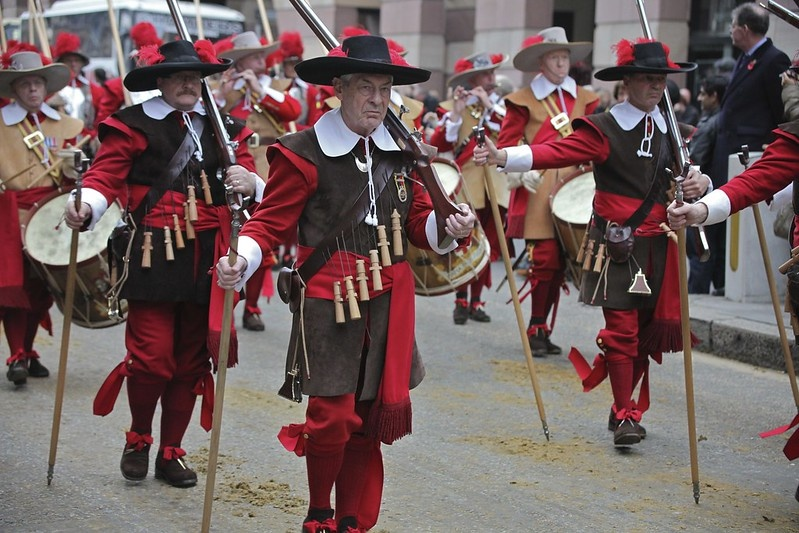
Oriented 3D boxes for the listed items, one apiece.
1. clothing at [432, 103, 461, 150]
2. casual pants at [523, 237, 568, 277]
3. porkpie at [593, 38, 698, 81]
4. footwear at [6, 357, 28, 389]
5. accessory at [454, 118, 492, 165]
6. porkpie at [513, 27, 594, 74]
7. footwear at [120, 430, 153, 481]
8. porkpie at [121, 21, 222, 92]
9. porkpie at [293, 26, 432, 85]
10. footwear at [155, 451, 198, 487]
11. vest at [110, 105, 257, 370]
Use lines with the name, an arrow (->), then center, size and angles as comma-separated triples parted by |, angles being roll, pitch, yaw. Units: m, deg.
clothing -> 0.469, -1.435, 13.357 | 0.353, 0.493, 0.455 | 3, 0, 10
casual pants -> 1.311, -0.065, 11.952 | 0.332, 0.445, 0.427 | 10, 14, 36
porkpie -> 1.825, -1.523, 9.732 | 0.547, 0.148, 0.391 | -6, 8, -4
footwear -> -3.045, 0.848, 10.647 | 0.156, 0.217, 0.254 | -1, 10, -15
accessory -> 0.692, -1.222, 12.977 | 0.471, 0.479, 0.166 | 11, 18, -2
porkpie -> 1.386, -2.000, 11.888 | 0.781, 0.211, 0.609 | -8, -4, 1
footwear -> -1.787, 1.306, 9.085 | 0.167, 0.159, 0.428 | 7, 22, -22
porkpie -> -1.538, -1.464, 9.072 | 0.764, 0.187, 0.559 | -6, 23, 12
porkpie -> -0.221, -1.273, 8.173 | 0.813, 0.314, 0.359 | 1, 10, -3
footwear -> -1.525, 1.406, 9.073 | 0.393, 0.146, 0.169 | 3, 4, 43
vest -> -1.502, -0.237, 9.519 | 1.633, 1.523, 0.551 | -2, 1, 2
